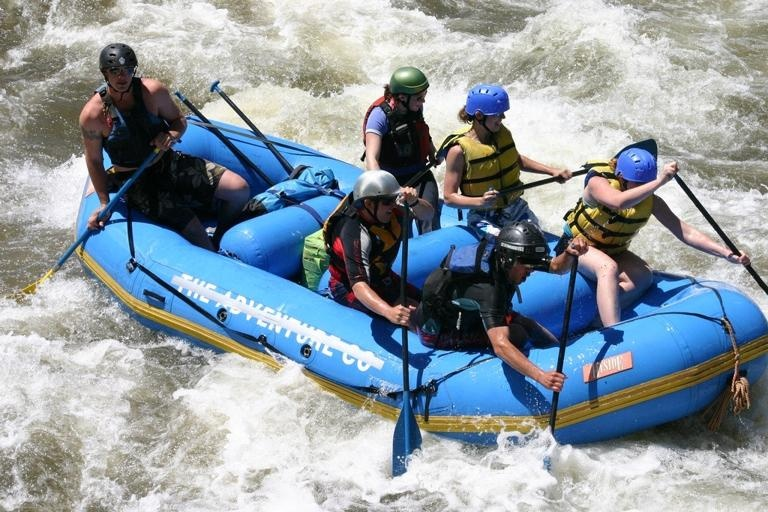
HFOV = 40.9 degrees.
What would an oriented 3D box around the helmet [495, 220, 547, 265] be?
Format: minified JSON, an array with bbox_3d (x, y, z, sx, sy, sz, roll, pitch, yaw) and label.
[{"bbox_3d":[1.287,-0.130,9.711,0.412,0.402,0.505,-5,12,-39],"label":"helmet"}]

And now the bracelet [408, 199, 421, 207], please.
[{"bbox_3d":[0.298,-0.534,10.124,0.075,0.098,0.035,-7,61,-39],"label":"bracelet"}]

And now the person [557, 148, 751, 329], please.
[{"bbox_3d":[2.469,-0.294,10.225,1.093,1.534,1.139,-17,48,-26],"label":"person"}]

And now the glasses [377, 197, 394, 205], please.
[{"bbox_3d":[0.040,-0.542,9.817,0.071,0.048,0.097,-14,29,-33],"label":"glasses"}]

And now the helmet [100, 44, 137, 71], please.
[{"bbox_3d":[-2.709,-2.078,10.515,0.275,0.331,0.299,-10,74,-31],"label":"helmet"}]

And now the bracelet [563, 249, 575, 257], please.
[{"bbox_3d":[1.761,-0.045,9.667,0.056,0.070,0.022,38,81,-11],"label":"bracelet"}]

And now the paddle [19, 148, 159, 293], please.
[{"bbox_3d":[-3.424,-0.181,11.679,0.318,0.093,1.784,2,43,35],"label":"paddle"}]

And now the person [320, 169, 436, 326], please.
[{"bbox_3d":[-0.029,-0.043,10.192,0.849,1.276,0.848,15,51,12],"label":"person"}]

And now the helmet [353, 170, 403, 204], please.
[{"bbox_3d":[-0.055,-0.672,9.915,0.453,0.283,0.298,7,42,-2],"label":"helmet"}]

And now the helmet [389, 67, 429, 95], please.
[{"bbox_3d":[0.262,-1.861,10.954,0.367,0.219,0.270,19,46,12],"label":"helmet"}]
